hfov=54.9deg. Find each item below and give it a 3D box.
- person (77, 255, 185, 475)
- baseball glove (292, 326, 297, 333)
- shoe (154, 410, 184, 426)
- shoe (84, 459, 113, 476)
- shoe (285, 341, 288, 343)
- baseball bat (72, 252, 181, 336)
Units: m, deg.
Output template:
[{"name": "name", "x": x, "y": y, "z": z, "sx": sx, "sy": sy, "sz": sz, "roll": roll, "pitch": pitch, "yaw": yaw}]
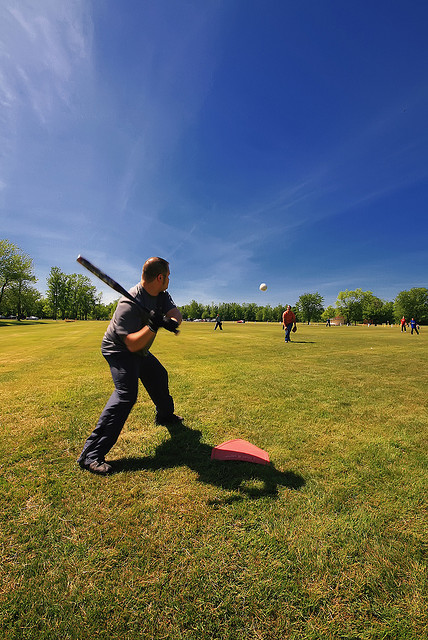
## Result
[{"name": "person", "x": -0.707, "y": 0.301, "z": 3.610, "sx": 0.851, "sy": 1.697, "sz": 1.460, "roll": -1, "pitch": 5, "yaw": -4}, {"name": "baseball glove", "x": 3.891, "y": 0.463, "z": 20.061, "sx": 0.085, "sy": 0.326, "sz": 0.241, "roll": 29, "pitch": -6, "yaw": 41}, {"name": "shoe", "x": -0.477, "y": 1.041, "z": 4.419, "sx": 0.314, "sy": 0.203, "sz": 0.109, "roll": -6, "pitch": 3, "yaw": -4}, {"name": "shoe", "x": -0.890, "y": 1.140, "z": 3.183, "sx": 0.154, "sy": 0.071, "sz": 0.190, "roll": -4, "pitch": 6, "yaw": -38}, {"name": "shoe", "x": 2.613, "y": 0.789, "z": 14.965, "sx": 0.060, "sy": 0.060, "sz": 0.033, "roll": -10, "pitch": -39, "yaw": 2}, {"name": "baseball bat", "x": -0.757, "y": -0.224, "z": 3.712, "sx": 1.033, "sy": 0.100, "sz": 0.109, "roll": 38, "pitch": -44, "yaw": -8}]
